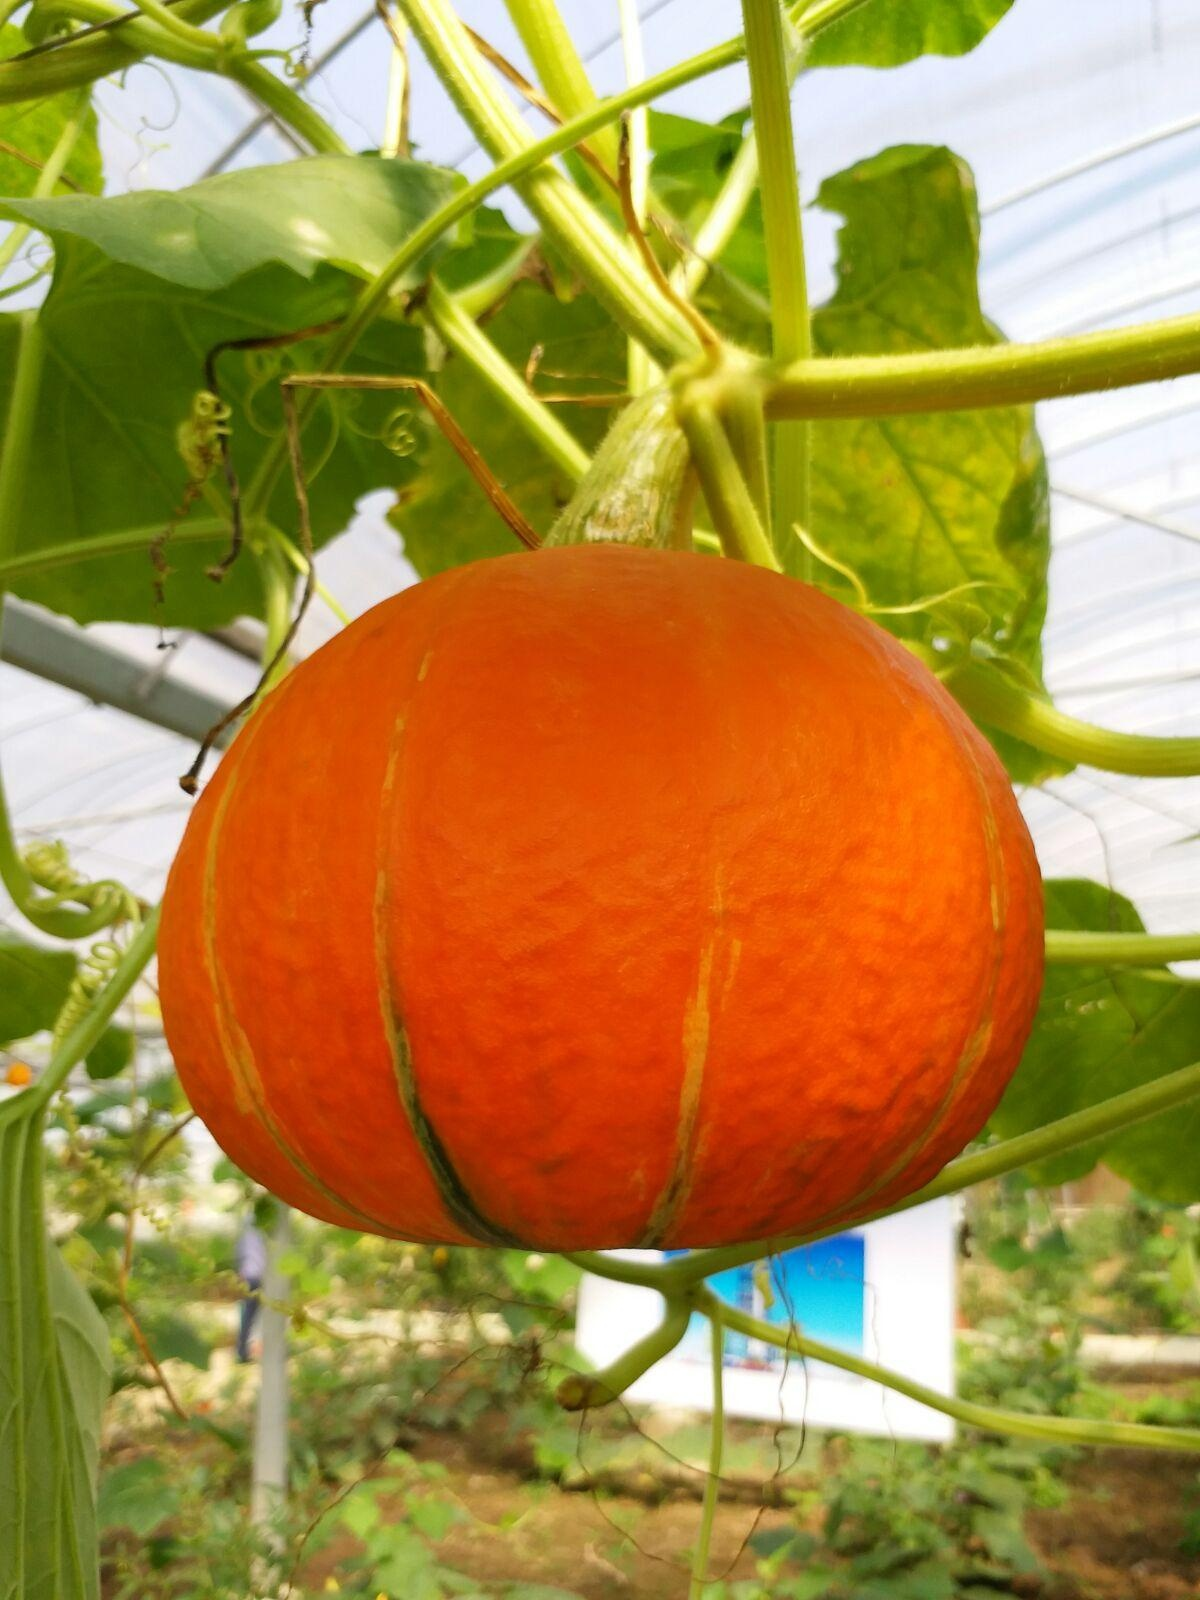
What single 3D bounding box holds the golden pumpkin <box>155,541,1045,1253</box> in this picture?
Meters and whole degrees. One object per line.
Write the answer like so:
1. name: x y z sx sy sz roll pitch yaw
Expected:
1. golden pumpkin: 0.020 0.052 0.835 0.360 0.269 0.336 9 -14 -31
